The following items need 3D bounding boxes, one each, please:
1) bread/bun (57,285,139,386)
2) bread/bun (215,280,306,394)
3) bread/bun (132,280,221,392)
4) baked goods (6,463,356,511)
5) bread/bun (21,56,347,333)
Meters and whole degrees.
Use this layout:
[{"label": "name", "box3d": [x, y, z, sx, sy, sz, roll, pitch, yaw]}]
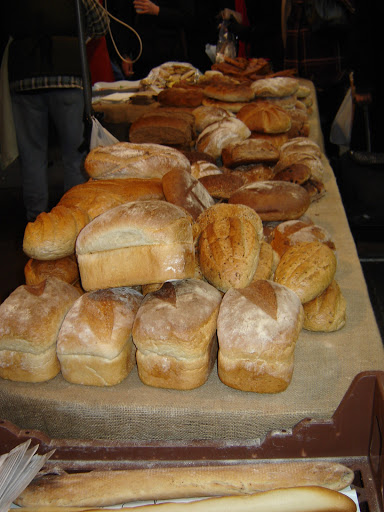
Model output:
[{"label": "bread/bun", "box3d": [-0.201, 0.161, 1.042, 0.177, 0.152, 0.270, -3, 23, 4]}, {"label": "bread/bun", "box3d": [0.152, 0.160, 0.991, 0.205, 0.171, 0.253, 6, 28, 21]}, {"label": "bread/bun", "box3d": [-0.008, 0.162, 1.007, 0.159, 0.164, 0.235, 4, 25, 9]}, {"label": "baked goods", "box3d": [-0.013, 0.403, 0.772, 0.534, 0.051, 0.069, -1, 4, 2]}, {"label": "bread/bun", "box3d": [0.126, -0.252, 1.471, 0.736, 0.238, 1.196, 7, 28, 8]}]
